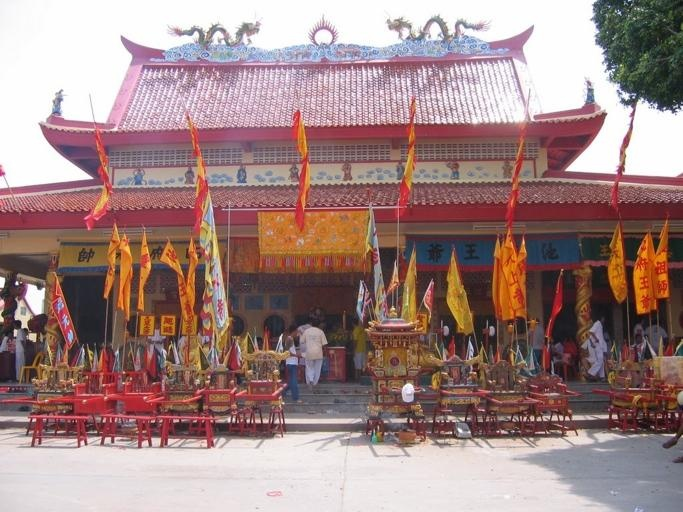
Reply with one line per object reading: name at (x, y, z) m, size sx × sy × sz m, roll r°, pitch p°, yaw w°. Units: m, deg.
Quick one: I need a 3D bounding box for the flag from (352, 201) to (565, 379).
flag at (2.742, 0.705, 18.437) m, size 5.559 × 5.929 × 0.795 m, roll 2°, pitch -47°, yaw 3°

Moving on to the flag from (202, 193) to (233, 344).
flag at (-2.644, 0.238, 16.122) m, size 0.506 × 3.084 × 0.866 m, roll -1°, pitch -9°, yaw -3°

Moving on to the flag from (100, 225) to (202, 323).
flag at (-4.652, 0.400, 19.380) m, size 2.554 × 2.485 × 0.217 m, roll 3°, pitch -12°, yaw -18°
